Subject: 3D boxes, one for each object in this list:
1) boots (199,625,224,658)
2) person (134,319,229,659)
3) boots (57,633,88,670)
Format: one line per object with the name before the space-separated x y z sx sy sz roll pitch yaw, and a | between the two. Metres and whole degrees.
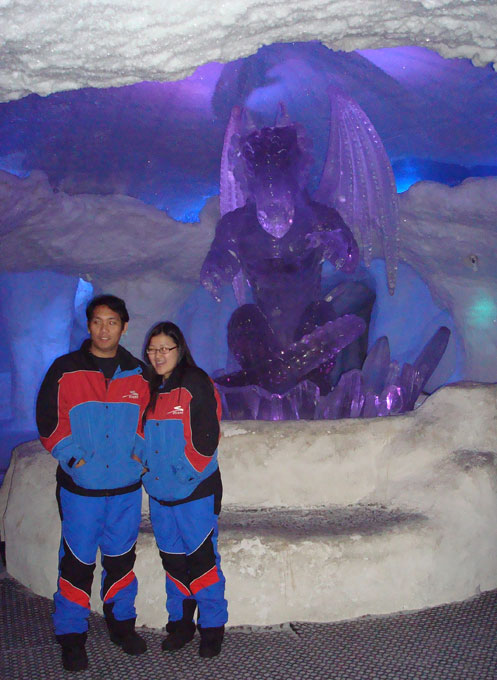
boots | -0.117 0.929 2.103 0.073 0.076 0.069 -1 20 -5
person | -0.201 0.479 2.168 0.261 1.006 0.531 -3 21 -9
boots | -0.530 0.935 2.062 0.080 0.092 0.130 -5 20 -16
